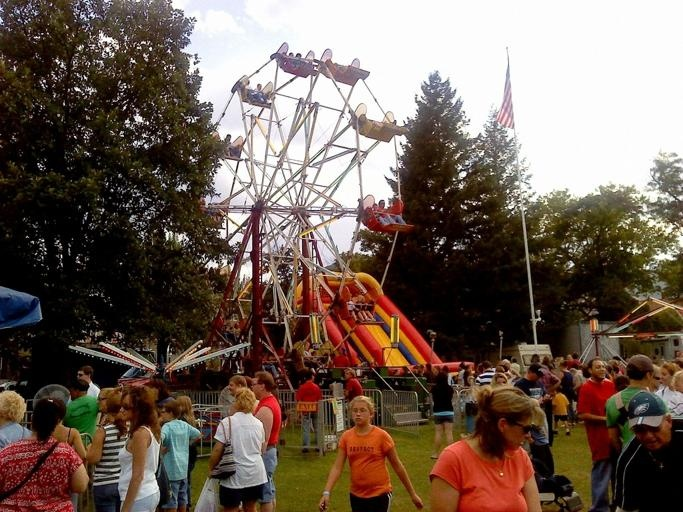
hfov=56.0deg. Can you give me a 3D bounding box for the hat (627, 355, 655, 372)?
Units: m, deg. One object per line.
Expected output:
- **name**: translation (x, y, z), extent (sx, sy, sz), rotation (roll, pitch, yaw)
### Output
- **hat**: translation (3.573, 1.275, 7.715), extent (0.326, 0.221, 0.253), rotation (7, -16, -26)

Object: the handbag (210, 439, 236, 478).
- **handbag**: translation (-1.396, 2.400, 7.610), extent (0.291, 0.403, 0.158), rotation (-22, -42, -2)

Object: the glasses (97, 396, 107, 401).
- **glasses**: translation (-3.203, 1.898, 8.625), extent (0.116, 0.038, 0.118), rotation (11, -13, -22)

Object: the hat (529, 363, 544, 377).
- **hat**: translation (3.220, 1.887, 10.704), extent (0.202, 0.219, 0.317), rotation (-5, -15, 16)

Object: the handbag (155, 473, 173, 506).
- **handbag**: translation (-2.160, 2.834, 7.824), extent (0.140, 0.385, 0.342), rotation (3, -15, -11)

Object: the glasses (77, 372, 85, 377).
- **glasses**: translation (-3.806, 1.720, 9.389), extent (0.086, 0.046, 0.069), rotation (5, 1, 33)
